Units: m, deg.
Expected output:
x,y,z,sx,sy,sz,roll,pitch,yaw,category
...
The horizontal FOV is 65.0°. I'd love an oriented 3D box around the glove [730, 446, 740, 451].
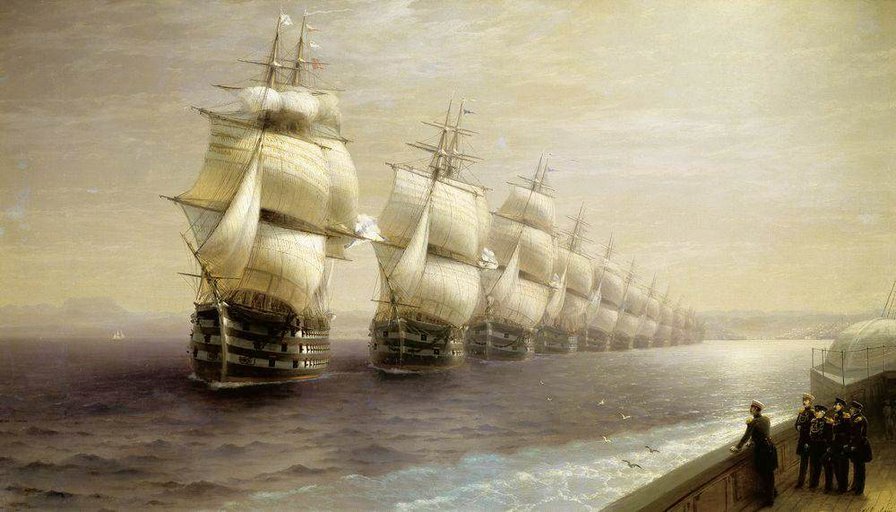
x,y,z,sx,sy,sz,roll,pitch,yaw,category
9.623,6.544,23.820,0.271,0.198,0.217,2,0,33,glove
